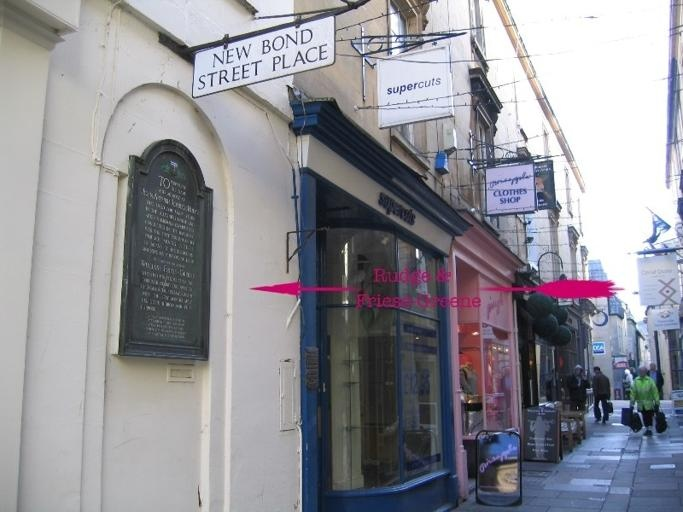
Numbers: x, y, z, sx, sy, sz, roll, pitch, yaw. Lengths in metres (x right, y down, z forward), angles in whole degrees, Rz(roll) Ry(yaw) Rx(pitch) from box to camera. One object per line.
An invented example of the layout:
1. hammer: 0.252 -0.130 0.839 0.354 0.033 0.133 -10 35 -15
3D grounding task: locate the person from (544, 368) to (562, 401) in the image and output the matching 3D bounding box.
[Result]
1. person: 7.723 4.732 22.399 0.495 1.716 1.516 0 -4 20

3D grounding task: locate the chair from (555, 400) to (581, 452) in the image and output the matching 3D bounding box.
1. chair: 5.961 4.366 16.021 0.546 1.049 1.539 -7 -6 34

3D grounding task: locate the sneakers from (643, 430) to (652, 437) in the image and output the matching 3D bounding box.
1. sneakers: 8.656 5.025 17.262 0.157 0.081 0.247 -1 -7 19

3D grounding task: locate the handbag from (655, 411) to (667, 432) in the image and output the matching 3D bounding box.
1. handbag: 9.103 4.738 17.424 0.291 0.617 0.720 -10 -14 24

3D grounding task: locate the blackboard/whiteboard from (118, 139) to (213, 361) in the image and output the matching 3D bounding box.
1. blackboard/whiteboard: -1.522 -0.076 5.388 0.228 1.911 0.989 -11 -13 29

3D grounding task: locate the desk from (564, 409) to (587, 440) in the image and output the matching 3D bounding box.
1. desk: 6.166 4.474 16.114 0.420 0.788 1.210 -5 -8 27

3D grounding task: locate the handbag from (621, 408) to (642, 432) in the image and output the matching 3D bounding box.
1. handbag: 8.059 4.582 17.024 0.393 0.703 1.089 -14 -15 35
